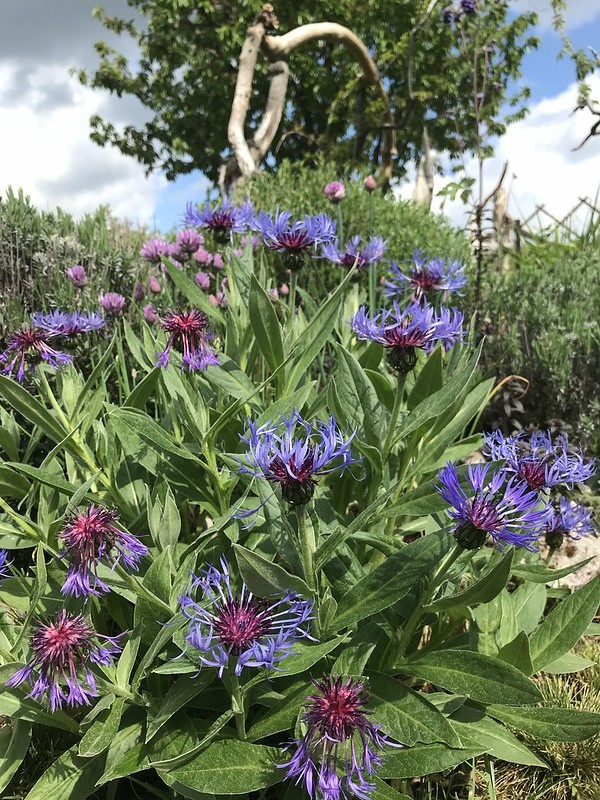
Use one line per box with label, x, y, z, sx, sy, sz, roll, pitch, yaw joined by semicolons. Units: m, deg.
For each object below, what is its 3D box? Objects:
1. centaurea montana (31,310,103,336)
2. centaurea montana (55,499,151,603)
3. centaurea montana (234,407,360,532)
centaurea montana;-0.757;-0.234;2.482;0.150;0.077;0.157;1;5;29
centaurea montana;-0.431;0.291;1.653;0.109;0.124;0.120;-21;-23;-24
centaurea montana;-0.007;0.152;1.548;0.206;0.159;0.221;-5;-5;22
